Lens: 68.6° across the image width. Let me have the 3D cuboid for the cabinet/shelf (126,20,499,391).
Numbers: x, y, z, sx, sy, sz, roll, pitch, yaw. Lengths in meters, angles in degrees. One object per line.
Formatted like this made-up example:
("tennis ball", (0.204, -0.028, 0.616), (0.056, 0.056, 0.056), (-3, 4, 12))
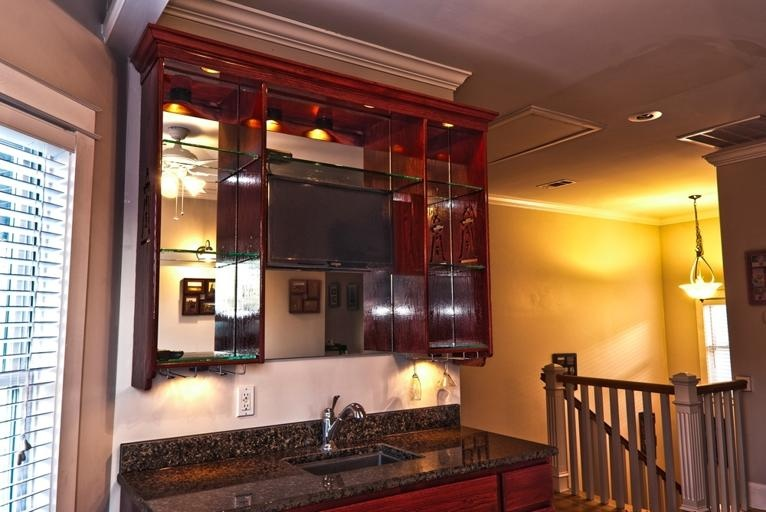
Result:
("cabinet/shelf", (-0.472, -0.279, 3.312), (2.180, 1.770, 0.629), (6, -15, -31))
